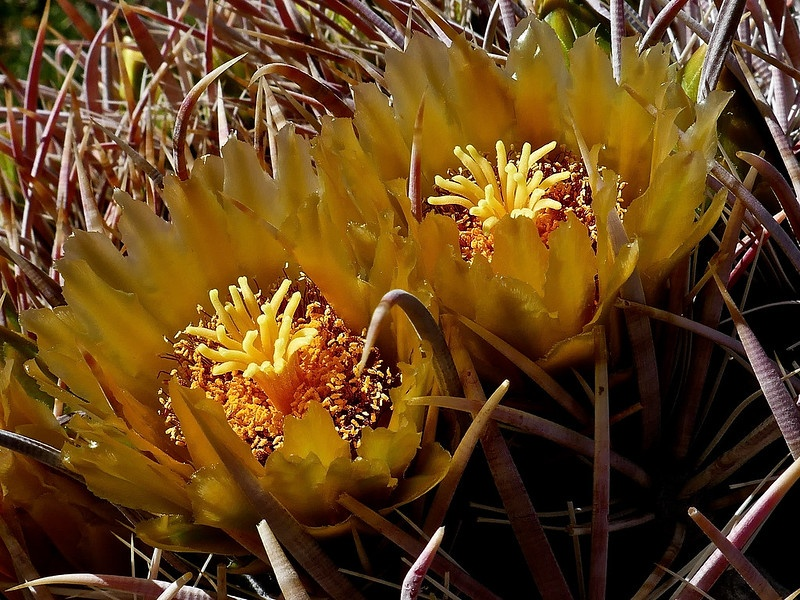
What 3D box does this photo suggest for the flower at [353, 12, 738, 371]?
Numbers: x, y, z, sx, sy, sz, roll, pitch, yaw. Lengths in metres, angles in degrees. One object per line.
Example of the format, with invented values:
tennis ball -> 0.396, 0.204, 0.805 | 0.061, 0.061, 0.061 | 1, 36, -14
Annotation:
flower -> 0.116, -0.055, 0.623 | 0.246, 0.223, 0.253 | 20, 61, 45

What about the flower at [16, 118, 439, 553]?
flower -> -0.064, -0.036, 0.567 | 0.259, 0.115, 0.265 | 7, 39, 32
